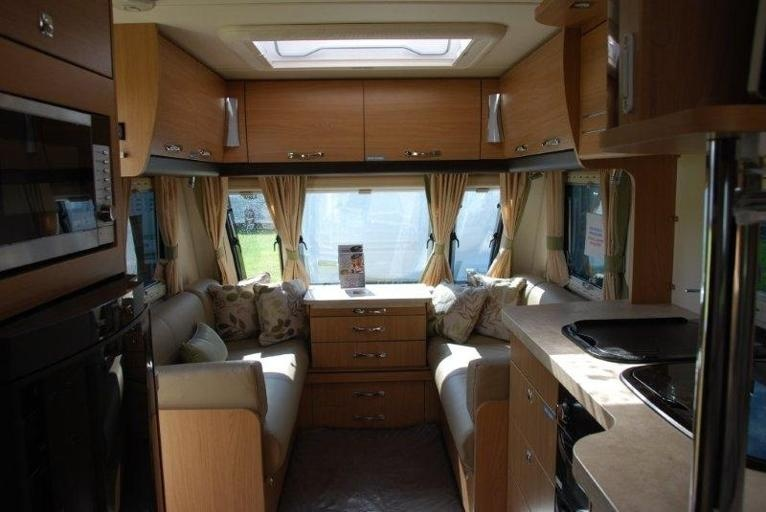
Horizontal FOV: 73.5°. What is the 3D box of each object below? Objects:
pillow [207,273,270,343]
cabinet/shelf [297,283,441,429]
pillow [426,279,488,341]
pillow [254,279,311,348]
[{"bbox_3d":[-1.082,0.411,3.826,0.410,0.390,0.221,-9,-17,-15],"label":"pillow"},{"bbox_3d":[-0.107,0.583,4.048,1.263,1.223,0.859,-1,2,0],"label":"cabinet/shelf"},{"bbox_3d":[0.548,0.364,3.915,0.415,0.143,0.408,-14,5,10],"label":"pillow"},{"bbox_3d":[-0.750,0.449,3.779,0.400,0.494,0.208,-6,-11,-20],"label":"pillow"}]
